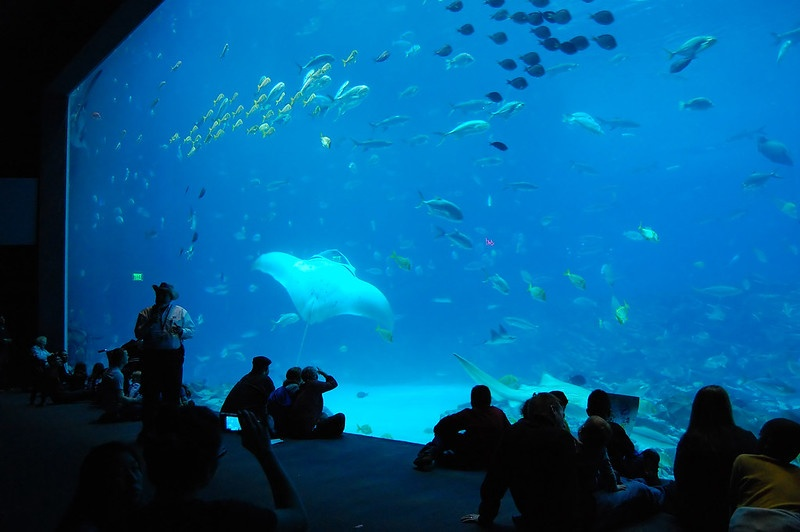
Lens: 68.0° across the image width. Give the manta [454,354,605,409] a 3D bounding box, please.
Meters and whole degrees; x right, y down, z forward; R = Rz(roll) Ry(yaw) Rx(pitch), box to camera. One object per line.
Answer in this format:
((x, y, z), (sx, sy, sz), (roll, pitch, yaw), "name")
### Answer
((7.426, 6.827, 33.120), (5.347, 1.199, 5.343), (16, -7, -1), "manta")
